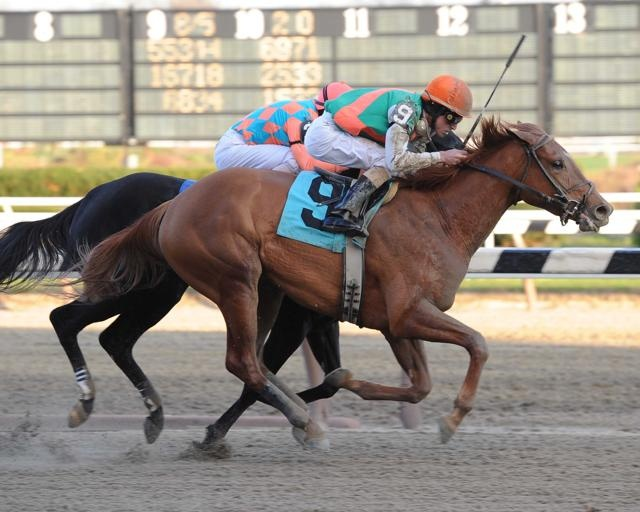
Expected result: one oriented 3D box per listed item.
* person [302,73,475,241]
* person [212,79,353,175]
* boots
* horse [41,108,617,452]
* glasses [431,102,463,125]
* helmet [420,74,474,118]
[{"bbox_3d":[0.490,-0.650,6.269,0.651,0.838,1.117,-19,30,-42],"label":"person"},{"bbox_3d":[-0.140,-0.822,6.636,1.044,0.296,0.486,-6,20,12],"label":"person"},{"bbox_3d":[0.157,-0.278,5.994,0.273,0.329,0.236,0,16,6],"label":"boots"},{"bbox_3d":[0.058,0.100,6.410,4.446,1.818,0.921,2,5,38],"label":"horse"},{"bbox_3d":[0.703,-0.811,6.133,0.170,0.031,0.133,21,6,42],"label":"glasses"},{"bbox_3d":[0.726,-0.917,6.165,0.348,0.143,0.238,22,16,2],"label":"helmet"}]
